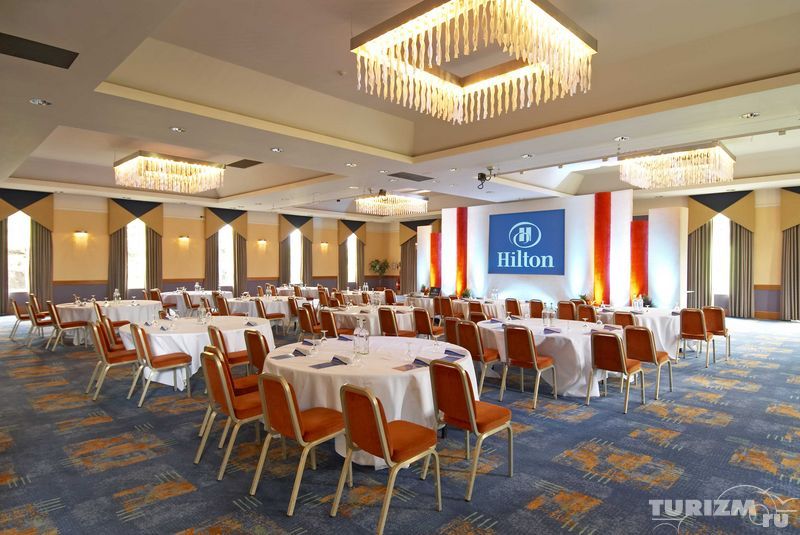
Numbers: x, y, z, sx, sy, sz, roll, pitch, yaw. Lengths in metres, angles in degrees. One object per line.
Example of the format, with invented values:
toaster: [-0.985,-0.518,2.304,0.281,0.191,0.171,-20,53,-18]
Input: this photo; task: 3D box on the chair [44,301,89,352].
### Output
chair: [-7.020,1.194,10.385,0.692,1.055,1.357,-3,0,-36]

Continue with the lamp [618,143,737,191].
lamp: [5.659,-2.078,10.063,1.356,0.318,1.263,-2,-6,45]

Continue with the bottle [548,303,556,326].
bottle: [2.870,0.888,9.297,0.195,0.491,0.193,-1,1,0]

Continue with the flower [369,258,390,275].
flower: [-0.930,-0.007,22.700,0.756,0.565,0.763,-2,-6,42]

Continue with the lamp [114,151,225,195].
lamp: [-5.103,-2.171,11.759,1.705,0.381,1.660,7,-12,-40]

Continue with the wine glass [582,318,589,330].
wine glass: [3.046,0.944,8.085,0.148,0.137,0.146,-3,-3,9]

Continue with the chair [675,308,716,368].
chair: [5.784,1.283,9.623,0.583,0.987,1.511,-3,0,30]

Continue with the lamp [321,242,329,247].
lamp: [-3.207,-0.943,21.008,0.071,0.201,0.315,-3,0,38]

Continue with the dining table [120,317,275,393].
dining table: [-3.063,1.102,7.768,1.581,0.558,1.521,-2,-2,39]

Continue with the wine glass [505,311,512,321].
wine glass: [2.178,0.969,9.817,0.132,0.121,0.130,-8,7,-20]

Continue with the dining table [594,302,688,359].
dining table: [4.683,1.073,9.198,1.191,0.671,1.346,-1,-2,39]

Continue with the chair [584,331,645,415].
chair: [3.145,1.475,7.261,0.716,1.086,0.872,-3,0,40]
